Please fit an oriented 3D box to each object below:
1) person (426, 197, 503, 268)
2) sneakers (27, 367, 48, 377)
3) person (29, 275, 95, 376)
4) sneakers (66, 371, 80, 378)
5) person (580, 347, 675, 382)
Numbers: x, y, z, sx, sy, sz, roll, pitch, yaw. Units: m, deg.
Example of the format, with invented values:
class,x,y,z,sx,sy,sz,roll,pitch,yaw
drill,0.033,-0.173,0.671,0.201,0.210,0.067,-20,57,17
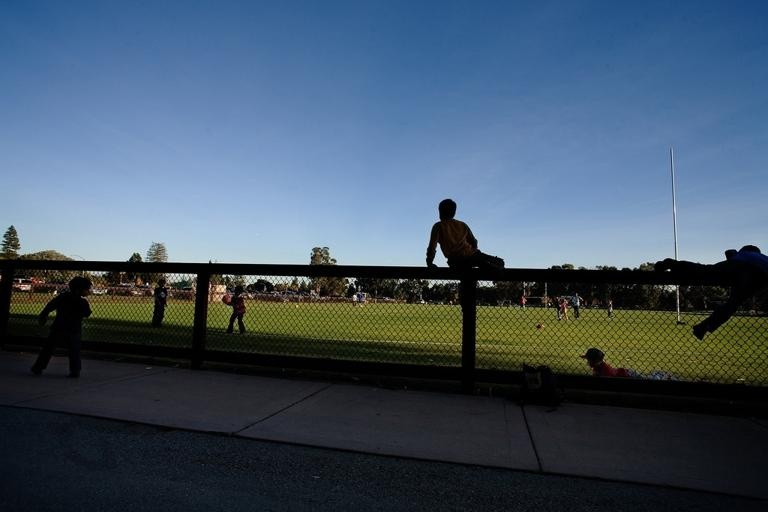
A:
class,x,y,z,sx,sy,sz,roll,pitch,yaw
person,1.050,-0.138,7.351,0.901,0.953,0.614,10,-31,-37
sneakers,-5.091,1.703,7.523,0.137,0.145,0.156,5,-8,-8
person,-4.825,1.058,7.679,0.787,1.424,1.072,-3,9,-31
sneakers,-4.524,1.715,7.468,0.167,0.157,0.087,-1,-8,-3
person,3.606,1.688,7.649,1.275,0.497,0.377,4,4,15
